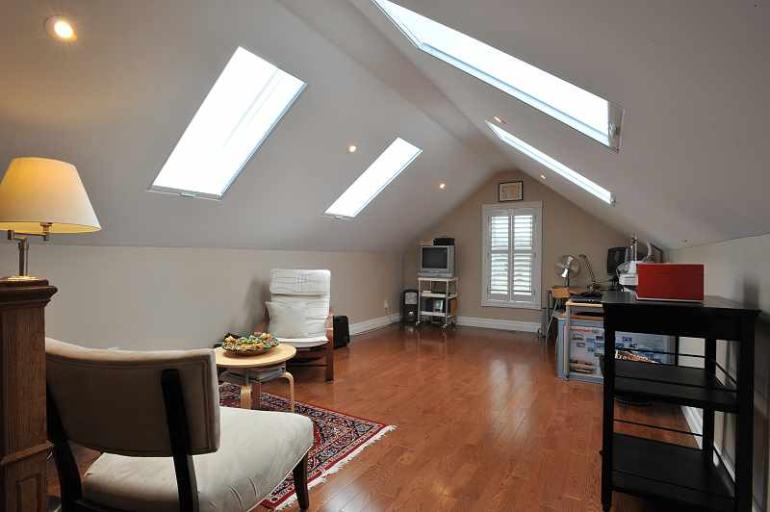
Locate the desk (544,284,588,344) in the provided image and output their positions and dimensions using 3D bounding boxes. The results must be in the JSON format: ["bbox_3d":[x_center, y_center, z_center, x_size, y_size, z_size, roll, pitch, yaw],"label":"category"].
[{"bbox_3d":[2.231,0.641,6.747,0.290,0.497,0.355,-7,6,13],"label":"desk"}]

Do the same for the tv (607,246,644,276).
[{"bbox_3d":[2.437,0.035,5.313,0.329,0.296,0.317,4,4,39],"label":"tv"}]

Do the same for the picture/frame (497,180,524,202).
[{"bbox_3d":[1.810,-0.951,7.538,0.327,0.278,0.033,0,-1,37],"label":"picture/frame"}]

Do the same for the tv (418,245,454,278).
[{"bbox_3d":[0.791,0.063,7.849,0.482,0.456,0.269,1,2,33],"label":"tv"}]

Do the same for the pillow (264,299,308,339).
[{"bbox_3d":[-0.998,0.635,5.299,0.379,0.307,0.448,-2,7,-15],"label":"pillow"}]

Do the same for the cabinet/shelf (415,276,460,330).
[{"bbox_3d":[0.805,0.666,7.846,0.639,0.694,0.621,3,0,3],"label":"cabinet/shelf"}]

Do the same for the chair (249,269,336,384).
[{"bbox_3d":[-0.886,0.680,5.268,0.716,1.010,1.013,1,2,-8],"label":"chair"}]
